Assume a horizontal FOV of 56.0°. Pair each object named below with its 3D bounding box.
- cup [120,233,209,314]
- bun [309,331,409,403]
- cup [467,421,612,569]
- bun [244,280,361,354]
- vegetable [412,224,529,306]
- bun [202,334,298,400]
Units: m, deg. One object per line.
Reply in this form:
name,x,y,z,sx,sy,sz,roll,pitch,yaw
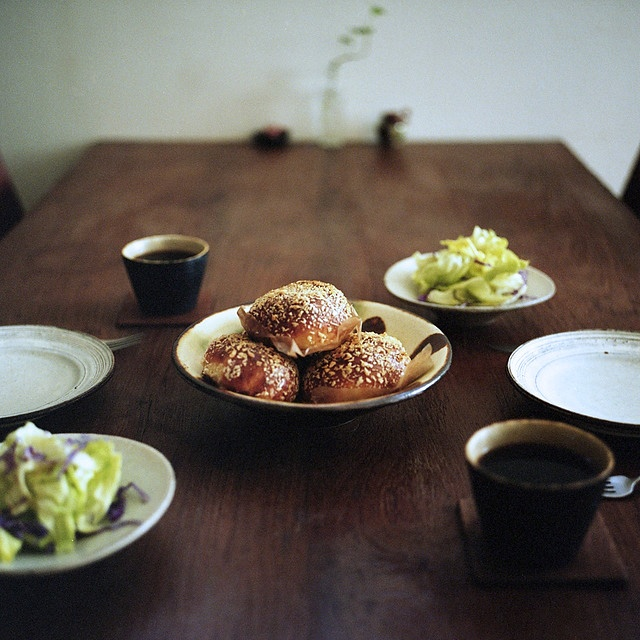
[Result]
cup,-0.185,-0.057,0.745,0.101,0.082,0.102,0,26,0
bun,0.029,0.031,0.526,0.053,0.023,0.067,-15,14,3
cup,0.124,0.102,0.367,0.085,0.066,0.090,-1,18,0
bun,-0.015,-0.002,0.572,0.105,0.058,0.108,15,17,11
vegetable,0.188,-0.091,0.725,0.105,0.062,0.109,0,27,-1
bun,-0.058,0.039,0.528,0.079,0.037,0.096,5,18,-40
